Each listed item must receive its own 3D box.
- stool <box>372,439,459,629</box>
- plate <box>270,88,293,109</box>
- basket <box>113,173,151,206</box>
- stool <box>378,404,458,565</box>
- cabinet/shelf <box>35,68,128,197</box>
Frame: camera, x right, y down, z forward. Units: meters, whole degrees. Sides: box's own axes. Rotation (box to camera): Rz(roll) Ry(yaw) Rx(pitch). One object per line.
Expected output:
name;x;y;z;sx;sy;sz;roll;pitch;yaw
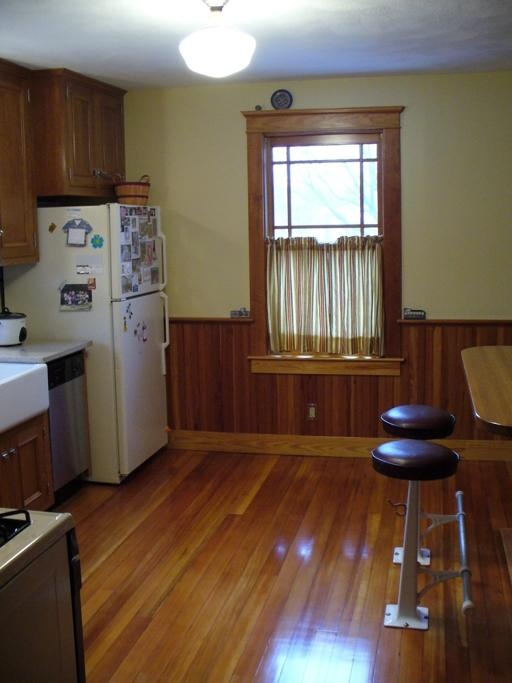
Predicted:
stool;0.584;0.740;2.057;0.282;0.620;0.296;3;-5;2
plate;0.178;-1.659;3.741;0.124;0.138;0.039;5;20;5
basket;-0.852;-1.013;3.762;0.213;0.201;0.223;-5;4;-33
stool;0.652;0.631;2.137;0.315;0.332;0.557;-11;44;18
cabinet/shelf;-1.148;-1.339;3.622;0.249;0.720;0.776;6;15;13
